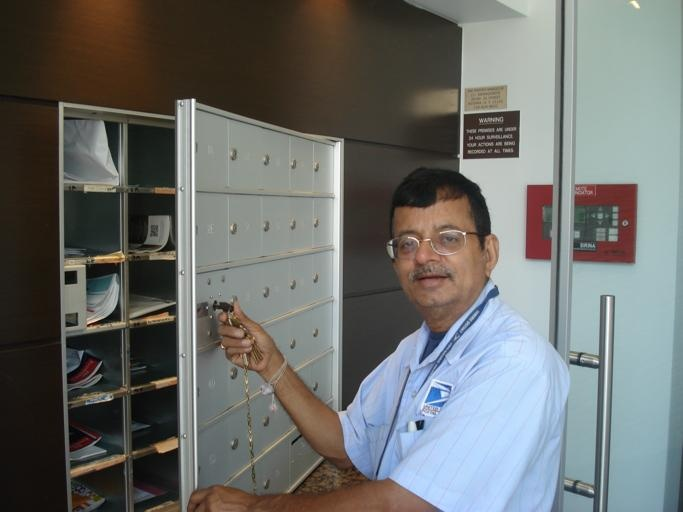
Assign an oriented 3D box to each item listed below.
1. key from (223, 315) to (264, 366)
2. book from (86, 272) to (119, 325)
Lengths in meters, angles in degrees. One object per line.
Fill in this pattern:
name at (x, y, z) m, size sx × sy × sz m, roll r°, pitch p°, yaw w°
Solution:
key at (-0.400, 0.342, 2.030) m, size 0.077 × 0.298 × 0.081 m, roll -37°, pitch -19°, yaw 14°
book at (-1.382, 0.238, 2.818) m, size 0.174 × 0.270 × 0.250 m, roll -2°, pitch 5°, yaw -27°
